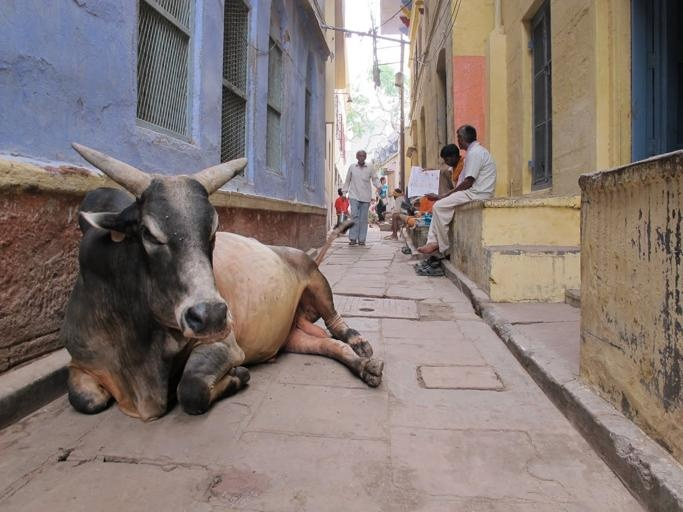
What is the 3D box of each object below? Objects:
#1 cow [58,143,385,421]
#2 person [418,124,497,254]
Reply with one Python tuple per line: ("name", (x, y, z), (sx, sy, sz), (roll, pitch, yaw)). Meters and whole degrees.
("cow", (-0.718, 0.122, 3.011), (1.578, 1.521, 1.167), (-11, 16, -40))
("person", (1.580, -0.921, 7.179), (1.025, 1.881, 0.755), (0, -2, 2))
